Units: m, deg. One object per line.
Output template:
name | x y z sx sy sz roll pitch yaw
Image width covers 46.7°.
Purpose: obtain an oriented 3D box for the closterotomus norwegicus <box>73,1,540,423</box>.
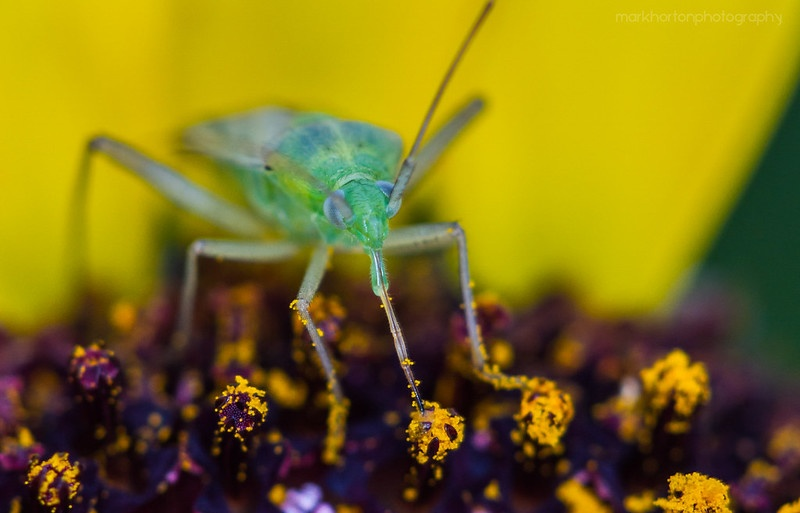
closterotomus norwegicus | -0.465 -0.419 4.410 1.987 1.718 1.051 10 36 6
